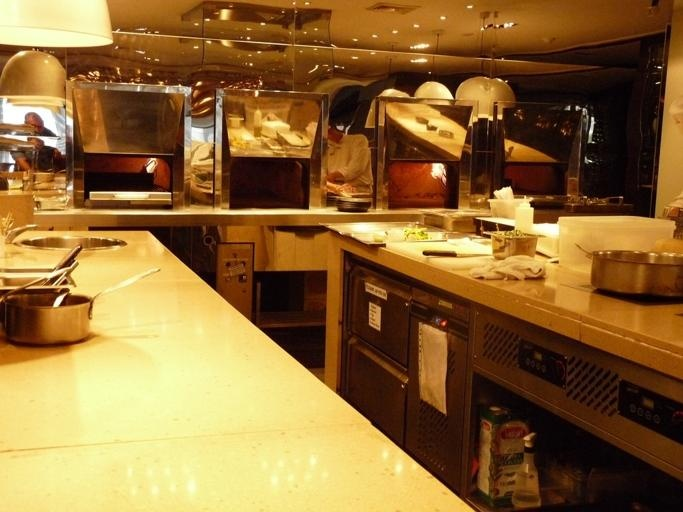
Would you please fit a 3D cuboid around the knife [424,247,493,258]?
[{"bbox_3d":[0.637,-0.018,3.117,0.330,0.028,0.047,0,13,-21],"label":"knife"}]

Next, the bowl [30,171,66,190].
[{"bbox_3d":[-2.815,-0.714,5.474,0.290,0.181,0.571,-4,13,-28],"label":"bowl"}]

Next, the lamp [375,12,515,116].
[{"bbox_3d":[1.270,-1.871,6.219,1.109,0.446,1.117,-1,5,-16],"label":"lamp"}]

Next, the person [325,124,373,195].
[{"bbox_3d":[0.077,-1.065,6.415,0.701,1.077,0.644,0,3,2],"label":"person"}]
